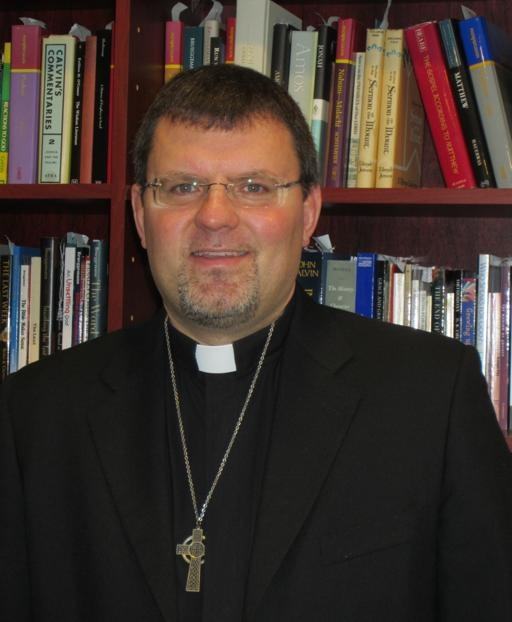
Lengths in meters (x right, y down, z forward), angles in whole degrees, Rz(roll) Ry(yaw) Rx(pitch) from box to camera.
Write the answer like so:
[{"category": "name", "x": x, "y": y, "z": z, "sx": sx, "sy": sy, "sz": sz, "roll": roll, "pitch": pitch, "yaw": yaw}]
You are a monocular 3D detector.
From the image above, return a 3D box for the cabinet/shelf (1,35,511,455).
[{"category": "cabinet/shelf", "x": -0.047, "y": -0.196, "z": 1.288, "sx": 1.008, "sy": 0.832, "sz": 0.563, "roll": -3, "pitch": -18, "yaw": 4}]
